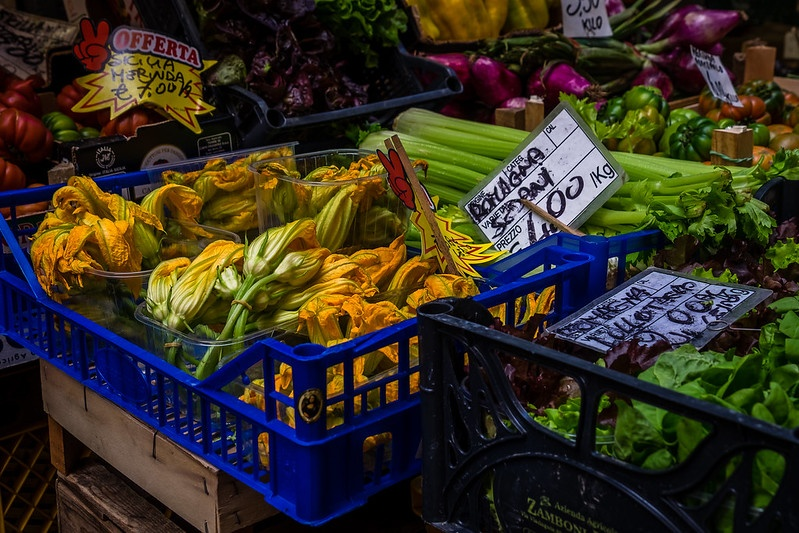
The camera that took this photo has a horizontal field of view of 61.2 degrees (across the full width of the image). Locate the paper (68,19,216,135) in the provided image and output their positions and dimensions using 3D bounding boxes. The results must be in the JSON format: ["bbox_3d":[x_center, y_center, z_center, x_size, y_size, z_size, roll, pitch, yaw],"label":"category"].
[{"bbox_3d":[-1.155,-0.878,3.138,0.681,0.500,0.010,-3,11,-40],"label":"paper"}]
